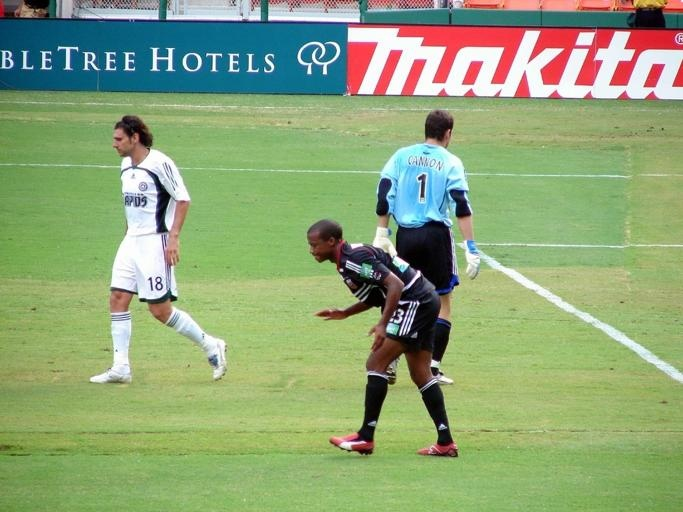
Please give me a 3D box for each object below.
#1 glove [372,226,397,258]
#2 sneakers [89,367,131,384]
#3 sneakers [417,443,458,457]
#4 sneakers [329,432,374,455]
[{"bbox_3d":[0.630,-0.234,21.968,0.343,0.403,0.157,-15,17,-13],"label":"glove"},{"bbox_3d":[-3.173,1.671,21.370,0.645,0.201,0.206,2,-2,-1],"label":"sneakers"},{"bbox_3d":[1.268,2.498,19.799,0.531,0.164,0.172,3,-3,8],"label":"sneakers"},{"bbox_3d":[0.183,2.412,19.762,0.613,0.237,0.224,11,0,-9],"label":"sneakers"}]
